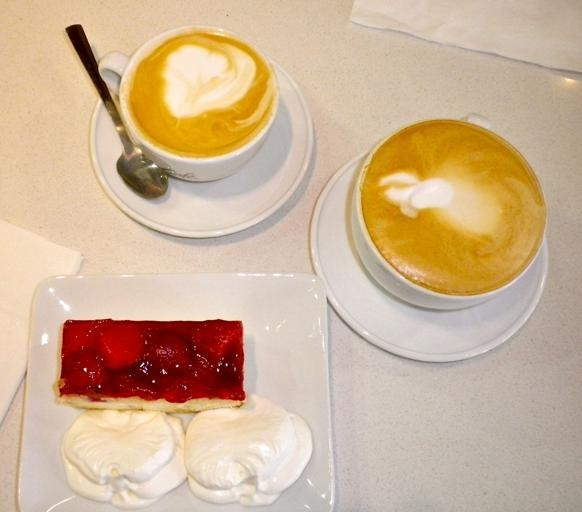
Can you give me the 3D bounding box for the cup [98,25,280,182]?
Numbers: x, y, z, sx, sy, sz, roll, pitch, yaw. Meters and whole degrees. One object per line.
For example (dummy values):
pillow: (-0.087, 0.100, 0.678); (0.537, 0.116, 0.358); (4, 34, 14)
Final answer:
cup: (-0.149, -0.267, 1.020); (0.247, 0.141, 0.331); (-12, 68, -12)
